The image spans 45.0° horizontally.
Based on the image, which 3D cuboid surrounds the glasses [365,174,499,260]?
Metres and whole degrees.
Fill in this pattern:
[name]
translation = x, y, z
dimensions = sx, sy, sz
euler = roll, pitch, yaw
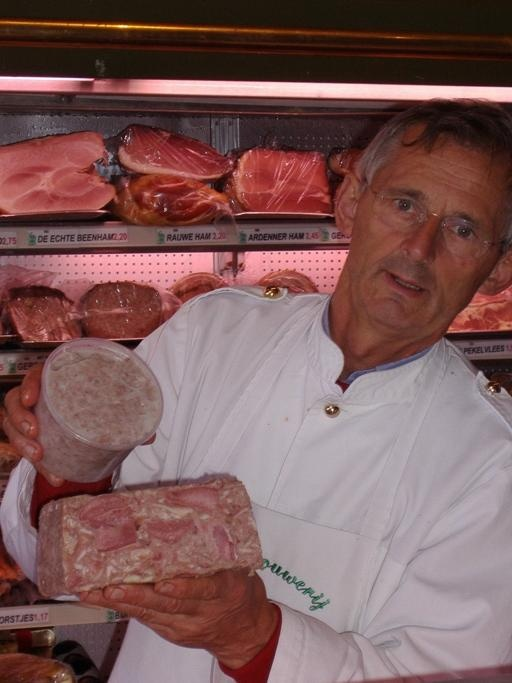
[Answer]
[glasses]
translation = 0.329, -0.236, 1.204
dimensions = 0.230, 0.099, 0.069
euler = 22, 31, 28
